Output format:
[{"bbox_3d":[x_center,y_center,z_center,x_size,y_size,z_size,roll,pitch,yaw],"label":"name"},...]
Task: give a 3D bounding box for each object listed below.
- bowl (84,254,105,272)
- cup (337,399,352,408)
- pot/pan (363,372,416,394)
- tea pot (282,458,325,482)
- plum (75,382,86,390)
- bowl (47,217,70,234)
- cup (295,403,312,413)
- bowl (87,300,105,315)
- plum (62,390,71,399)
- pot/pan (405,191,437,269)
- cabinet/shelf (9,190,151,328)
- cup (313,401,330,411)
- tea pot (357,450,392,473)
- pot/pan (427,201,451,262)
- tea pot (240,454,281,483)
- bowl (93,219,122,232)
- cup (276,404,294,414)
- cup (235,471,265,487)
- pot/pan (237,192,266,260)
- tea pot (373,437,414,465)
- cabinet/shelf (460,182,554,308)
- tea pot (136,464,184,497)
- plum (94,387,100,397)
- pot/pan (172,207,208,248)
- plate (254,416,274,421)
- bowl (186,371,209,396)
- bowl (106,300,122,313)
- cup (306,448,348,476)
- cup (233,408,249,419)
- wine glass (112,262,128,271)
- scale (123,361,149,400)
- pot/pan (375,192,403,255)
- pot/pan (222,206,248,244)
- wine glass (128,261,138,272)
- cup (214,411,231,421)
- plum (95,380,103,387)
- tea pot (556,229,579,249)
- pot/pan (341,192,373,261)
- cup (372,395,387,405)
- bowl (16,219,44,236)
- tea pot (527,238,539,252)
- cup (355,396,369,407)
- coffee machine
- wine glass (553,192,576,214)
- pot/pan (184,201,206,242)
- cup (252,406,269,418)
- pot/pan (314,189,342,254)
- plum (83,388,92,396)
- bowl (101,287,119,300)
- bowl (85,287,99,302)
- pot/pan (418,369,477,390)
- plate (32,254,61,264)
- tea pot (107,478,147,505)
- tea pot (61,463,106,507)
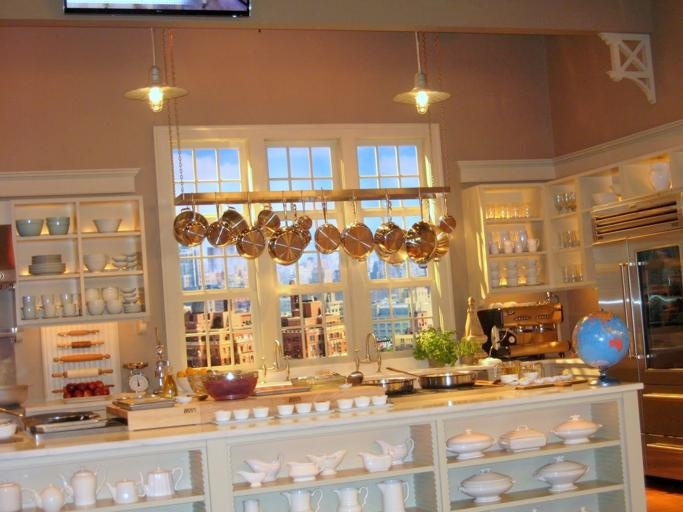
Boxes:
[{"bbox_3d":[-2.175,0.069,5.656,0.163,0.121,0.161,-1,-8,0],"label":"bowl"},{"bbox_3d":[0.020,0.878,3.844,0.067,0.032,0.061,-3,-8,0],"label":"cup"},{"bbox_3d":[0.335,0.896,4.385,0.267,0.095,0.509,-6,-2,32],"label":"pot/pan"},{"bbox_3d":[-0.216,1.179,3.547,0.159,0.078,0.125,4,-11,-16],"label":"tea pot"},{"bbox_3d":[-2.221,1.107,5.463,0.060,0.052,0.069,1,-7,-9],"label":"plum"},{"bbox_3d":[-2.464,-0.261,5.607,0.177,0.116,0.157,0,-4,-3],"label":"bowl"},{"bbox_3d":[-0.220,0.895,3.770,0.087,0.067,0.085,-5,-2,0],"label":"cup"},{"bbox_3d":[-2.133,0.446,5.577,0.141,0.102,0.123,-3,0,-25],"label":"bowl"},{"bbox_3d":[-2.332,1.175,5.453,0.072,0.087,0.068,0,2,-21],"label":"plum"},{"bbox_3d":[0.627,-0.104,5.094,0.189,0.362,0.190,-7,-3,37],"label":"pot/pan"},{"bbox_3d":[-2.356,0.053,5.678,1.370,1.136,0.373,-2,-1,-9],"label":"cabinet/shelf"},{"bbox_3d":[-0.117,0.888,3.792,0.106,0.062,0.100,0,-3,0],"label":"cup"},{"bbox_3d":[0.195,1.165,3.638,0.156,0.074,0.108,0,-4,-10],"label":"tea pot"},{"bbox_3d":[0.846,-0.171,5.451,0.074,0.396,0.294,2,5,-19],"label":"pot/pan"},{"bbox_3d":[-0.453,1.185,3.562,0.257,0.136,0.118,3,-9,-7],"label":"tea pot"},{"bbox_3d":[-2.071,-0.273,5.746,0.164,0.067,0.156,-1,-8,0],"label":"bowl"},{"bbox_3d":[-0.314,0.883,3.704,0.072,0.034,0.068,-2,-4,0],"label":"cup"},{"bbox_3d":[-0.495,1.207,3.464,0.154,0.076,0.076,5,-13,-11],"label":"cup"},{"bbox_3d":[-0.721,-0.194,4.944,0.270,0.440,0.069,-5,1,-20],"label":"pot/pan"},{"bbox_3d":[0.329,1.155,3.792,0.250,0.132,0.132,4,-10,-19],"label":"tea pot"},{"bbox_3d":[1.789,-0.127,6.669,0.727,1.033,0.368,-4,-3,3],"label":"cabinet/shelf"},{"bbox_3d":[-0.956,1.195,3.443,0.250,0.152,0.165,2,-7,-12],"label":"tea pot"},{"bbox_3d":[-2.061,1.153,5.428,0.057,0.061,0.054,0,6,1],"label":"plum"},{"bbox_3d":[-1.103,-0.187,4.721,0.152,0.281,0.294,-6,31,21],"label":"pot/pan"},{"bbox_3d":[-0.441,0.929,3.678,0.119,0.014,0.108,-4,-2,-9],"label":"plate"},{"bbox_3d":[-0.945,0.828,4.185,0.189,0.131,0.178,0,-7,0],"label":"bowl"},{"bbox_3d":[-1.992,0.446,5.632,0.133,0.096,0.118,-2,-1,-25],"label":"bowl"},{"bbox_3d":[-0.085,1.193,3.592,0.264,0.131,0.141,1,-16,-7],"label":"cup"},{"bbox_3d":[-0.583,0.906,3.693,0.070,0.032,0.066,0,-5,0],"label":"cup"},{"bbox_3d":[-1.981,0.095,5.743,0.095,0.060,0.089,0,-10,-13],"label":"wine glass"},{"bbox_3d":[-1.788,1.076,5.571,0.222,0.253,0.204,7,-26,-44],"label":"scale"},{"bbox_3d":[0.339,-0.215,5.072,0.274,0.407,0.064,-6,0,-21],"label":"pot/pan"},{"bbox_3d":[-0.805,-0.247,4.994,0.124,0.290,0.204,-14,-17,37],"label":"pot/pan"},{"bbox_3d":[-1.867,0.088,5.764,0.082,0.052,0.082,-8,-10,32],"label":"wine glass"},{"bbox_3d":[-0.665,0.903,3.603,0.066,0.036,0.062,-4,-3,0],"label":"cup"},{"bbox_3d":[-2.081,1.092,5.514,0.063,0.038,0.071,1,2,-1],"label":"plum"},{"bbox_3d":[2.336,-0.173,6.614,0.180,0.164,0.173,0,-2,0],"label":"tea pot"},{"bbox_3d":[0.117,-0.201,5.000,0.289,0.474,0.074,-8,0,-20],"label":"pot/pan"},{"bbox_3d":[0.230,0.857,3.825,0.065,0.038,0.058,-4,-3,-7],"label":"cup"},{"bbox_3d":[-2.699,-0.247,5.536,0.179,0.103,0.169,-1,-9,0],"label":"bowl"},{"bbox_3d":[2.025,-0.114,6.726,0.084,0.120,0.203,-7,-3,40],"label":"tea pot"},{"bbox_3d":[0.125,0.880,3.860,0.091,0.047,0.078,-5,-2,3],"label":"cup"},{"bbox_3d":[1.842,0.794,6.534,0.807,0.491,0.494,0,-12,-28],"label":"coffee machine"},{"bbox_3d":[2.237,-0.547,6.548,0.201,0.202,0.196,1,-6,-9],"label":"wine glass"},{"bbox_3d":[-1.082,-0.233,4.802,0.148,0.303,0.294,-6,-2,9],"label":"pot/pan"},{"bbox_3d":[-0.462,0.897,3.698,0.076,0.042,0.072,-6,-4,0],"label":"cup"},{"bbox_3d":[-0.122,-0.239,5.019,0.258,0.445,0.068,-7,3,-29],"label":"pot/pan"},{"bbox_3d":[-2.142,1.155,5.420,0.050,0.056,0.051,3,6,39],"label":"plum"},{"bbox_3d":[-2.055,0.332,5.714,0.122,0.119,0.146,-5,-2,14],"label":"bowl"},{"bbox_3d":[-2.190,0.338,5.640,0.110,0.092,0.103,0,-6,0],"label":"bowl"},{"bbox_3d":[0.745,0.870,4.501,0.394,0.099,0.206,-4,-2,3],"label":"pot/pan"},{"bbox_3d":[-2.564,0.025,5.585,0.229,0.081,0.124,-4,-2,-25],"label":"plate"},{"bbox_3d":[-1.115,1.222,3.356,0.196,0.119,0.127,2,-7,-3],"label":"tea pot"},{"bbox_3d":[-1.334,1.184,3.283,0.156,0.183,0.116,-5,-2,3],"label":"tea pot"}]
